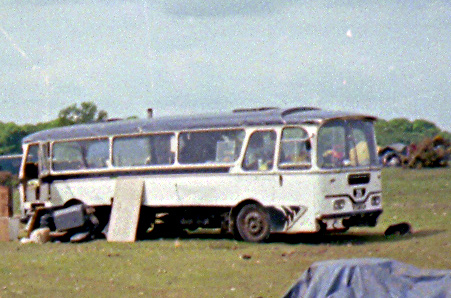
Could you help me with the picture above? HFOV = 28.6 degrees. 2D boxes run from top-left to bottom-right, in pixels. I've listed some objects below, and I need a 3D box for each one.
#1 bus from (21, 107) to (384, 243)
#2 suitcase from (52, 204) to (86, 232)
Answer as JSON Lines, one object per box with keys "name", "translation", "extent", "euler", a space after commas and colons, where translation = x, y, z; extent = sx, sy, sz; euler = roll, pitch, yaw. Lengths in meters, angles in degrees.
{"name": "bus", "translation": [-0.960, 0.838, 35.113], "extent": [15.586, 5.737, 5.496], "euler": [-2, 0, 25]}
{"name": "suitcase", "translation": [-6.001, 2.656, 34.596], "extent": [1.479, 1.152, 0.870], "euler": [-7, 7, 16]}
